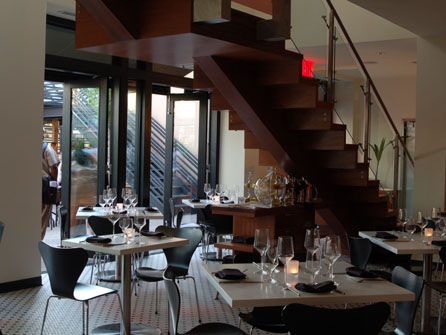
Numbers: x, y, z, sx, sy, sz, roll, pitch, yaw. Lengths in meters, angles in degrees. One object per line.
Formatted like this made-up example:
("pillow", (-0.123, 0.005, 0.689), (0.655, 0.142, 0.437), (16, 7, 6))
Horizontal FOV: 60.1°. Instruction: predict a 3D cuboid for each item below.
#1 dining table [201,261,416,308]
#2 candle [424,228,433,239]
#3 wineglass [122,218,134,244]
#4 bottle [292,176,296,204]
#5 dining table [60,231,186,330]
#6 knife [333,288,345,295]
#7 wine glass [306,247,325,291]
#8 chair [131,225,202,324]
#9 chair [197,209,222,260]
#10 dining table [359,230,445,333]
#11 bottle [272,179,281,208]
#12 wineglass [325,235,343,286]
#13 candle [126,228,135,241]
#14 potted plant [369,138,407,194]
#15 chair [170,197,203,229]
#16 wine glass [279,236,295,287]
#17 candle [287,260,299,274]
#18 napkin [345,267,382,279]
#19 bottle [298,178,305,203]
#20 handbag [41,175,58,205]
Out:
("dining table", (0.594, 0.881, 2.988), (1.460, 0.143, 0.793), (0, -1, -9))
("candle", (2.388, 0.763, 4.476), (0.102, 0.129, 0.109), (0, -8, 1))
("wineglass", (-0.949, 0.623, 3.868), (0.107, 0.220, 0.167), (0, 0, -11))
("bottle", (0.978, 0.316, 5.325), (0.047, 0.349, 0.166), (0, 0, 11))
("dining table", (-1.104, 1.043, 4.086), (1.039, 1.099, 1.043), (3, 3, 44))
("knife", (0.825, 0.877, 2.740), (0.043, 0.013, 0.090), (1, -1, -38))
("wine glass", (0.701, 0.752, 2.965), (0.155, 0.357, 0.134), (0, 28, 14))
("chair", (-0.654, 1.189, 4.317), (0.645, 1.037, 0.644), (4, 0, 31))
("chair", (-0.210, 1.199, 7.035), (0.472, 0.798, 0.515), (-1, -21, 2))
("dining table", (2.015, 1.214, 4.362), (0.899, 0.980, 0.959), (0, 1, -5))
("bottle", (0.712, 0.324, 5.140), (0.116, 0.233, 0.249), (0, 0, 8))
("wineglass", (0.826, 0.696, 2.927), (0.131, 0.346, 0.133), (1, -11, 12))
("candle", (-0.939, 0.673, 3.928), (0.102, 0.133, 0.108), (0, 3, -13))
("potted plant", (2.972, -0.060, 6.780), (0.794, 0.949, 0.826), (0, -6, 16))
("chair", (-0.711, 0.838, 7.396), (0.553, 0.998, 0.523), (0, 0, -7))
("wine glass", (0.486, 0.694, 2.967), (0.102, 0.358, 0.311), (0, 0, 10))
("candle", (0.568, 0.820, 3.163), (0.081, 0.102, 0.089), (2, -9, -9))
("napkin", (1.126, 0.842, 3.082), (0.134, 0.039, 0.133), (2, -2, -27))
("bottle", (1.084, 0.311, 5.334), (0.089, 0.328, 0.160), (0, 0, 12))
("handbag", (-3.117, 0.399, 6.909), (0.340, 0.523, 0.514), (0, 2, -24))
